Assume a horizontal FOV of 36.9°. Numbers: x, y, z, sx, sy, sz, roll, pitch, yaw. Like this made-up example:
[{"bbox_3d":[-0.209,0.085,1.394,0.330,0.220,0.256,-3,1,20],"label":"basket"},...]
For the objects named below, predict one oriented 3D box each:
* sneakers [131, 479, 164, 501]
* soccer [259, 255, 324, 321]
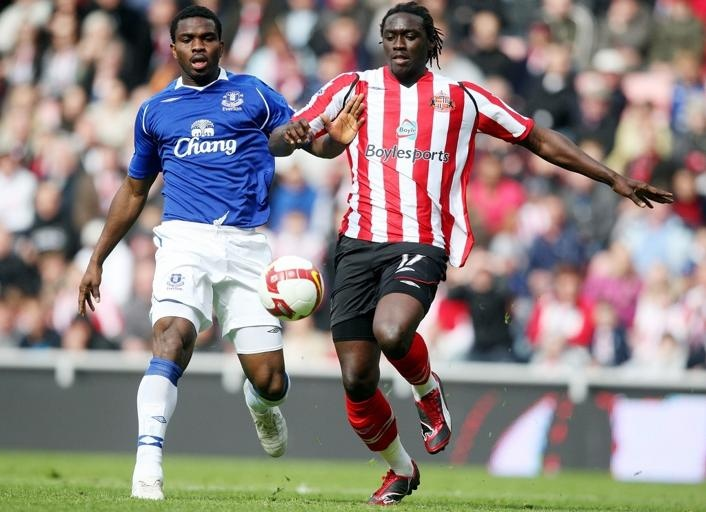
[{"bbox_3d":[-1.557,1.791,8.072,0.240,0.150,0.185,2,6,-10],"label":"sneakers"},{"bbox_3d":[-0.568,0.317,8.845,0.515,0.524,0.505,4,-31,-23],"label":"soccer"}]
